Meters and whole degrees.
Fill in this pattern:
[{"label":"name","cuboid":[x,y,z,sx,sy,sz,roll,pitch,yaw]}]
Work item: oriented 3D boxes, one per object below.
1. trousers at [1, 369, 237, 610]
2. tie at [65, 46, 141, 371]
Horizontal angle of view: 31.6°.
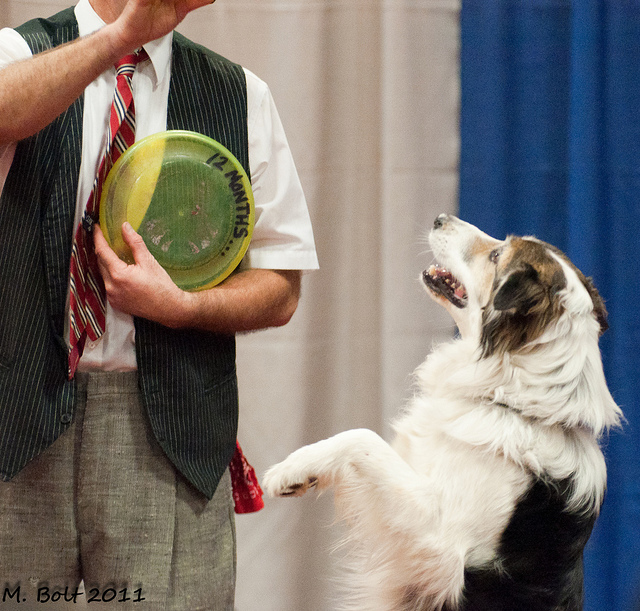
[{"label":"trousers","cuboid":[-0.482,0.419,2.592,0.410,0.728,0.240,1,-8,-6]},{"label":"tie","cuboid":[-0.494,-0.234,2.575,0.179,0.712,0.204,-1,10,-9]}]
